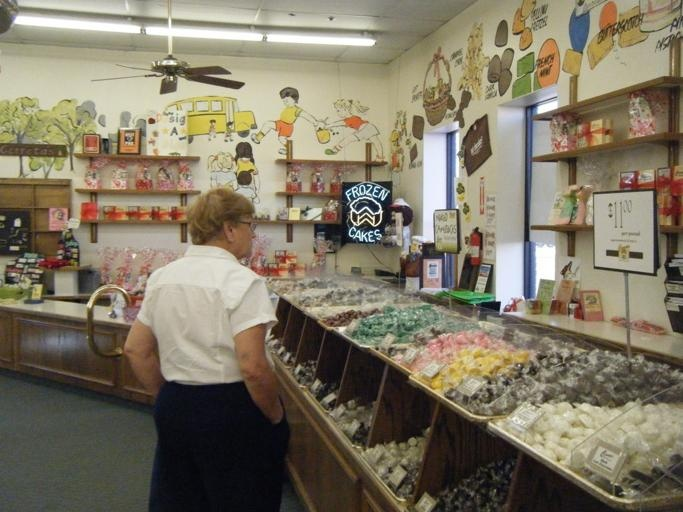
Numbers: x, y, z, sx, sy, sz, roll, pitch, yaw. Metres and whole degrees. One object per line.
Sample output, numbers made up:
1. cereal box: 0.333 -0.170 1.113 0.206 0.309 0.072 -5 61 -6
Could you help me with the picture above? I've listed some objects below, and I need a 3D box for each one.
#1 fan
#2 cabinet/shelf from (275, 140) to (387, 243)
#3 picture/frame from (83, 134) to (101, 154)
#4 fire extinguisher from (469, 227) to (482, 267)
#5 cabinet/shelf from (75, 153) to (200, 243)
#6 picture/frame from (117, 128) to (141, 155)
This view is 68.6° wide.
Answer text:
1. fan: -2.235 -2.609 6.196 1.287 1.376 1.197 -4 2 -44
2. cabinet/shelf: -0.220 -0.907 7.364 1.456 1.458 0.452 0 2 -11
3. picture/frame: -3.421 -1.539 6.872 0.237 0.288 0.142 -8 6 -21
4. fire extinguisher: 1.477 -0.101 5.499 0.133 0.410 0.142 -6 6 -6
5. cabinet/shelf: -2.845 -0.813 6.762 1.269 1.011 0.378 0 5 -5
6. picture/frame: -2.903 -1.565 6.860 0.340 0.424 0.032 1 -1 -11
